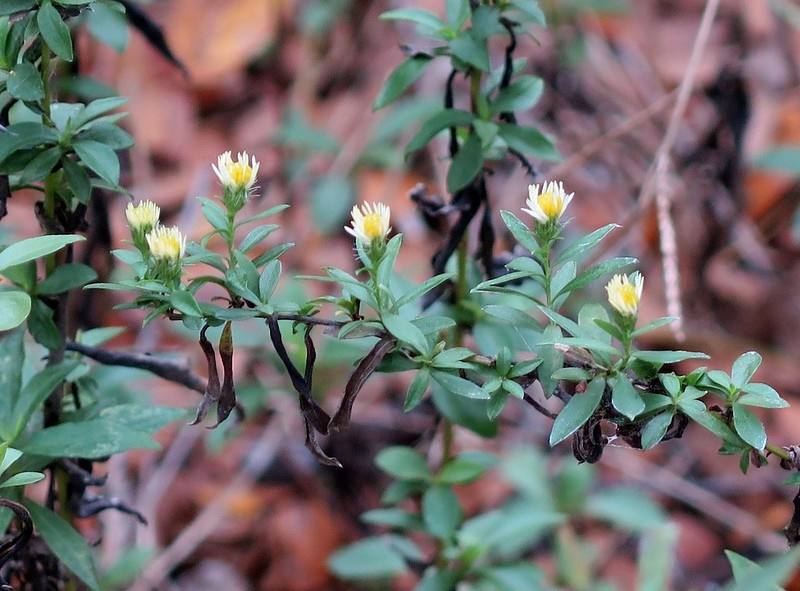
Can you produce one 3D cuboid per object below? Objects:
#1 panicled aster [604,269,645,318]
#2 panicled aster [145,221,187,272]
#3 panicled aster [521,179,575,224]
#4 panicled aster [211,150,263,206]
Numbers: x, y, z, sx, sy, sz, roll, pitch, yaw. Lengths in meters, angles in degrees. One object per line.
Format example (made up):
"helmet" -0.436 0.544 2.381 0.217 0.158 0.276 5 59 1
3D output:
"panicled aster" 0.493 -0.010 1.673 0.077 0.059 0.105 -14 54 37
"panicled aster" -0.511 -0.104 1.733 0.078 0.106 0.090 2 26 8
"panicled aster" 0.336 -0.206 1.746 0.084 0.076 0.111 -13 11 39
"panicled aster" -0.377 -0.261 1.741 0.079 0.083 0.108 11 99 32
